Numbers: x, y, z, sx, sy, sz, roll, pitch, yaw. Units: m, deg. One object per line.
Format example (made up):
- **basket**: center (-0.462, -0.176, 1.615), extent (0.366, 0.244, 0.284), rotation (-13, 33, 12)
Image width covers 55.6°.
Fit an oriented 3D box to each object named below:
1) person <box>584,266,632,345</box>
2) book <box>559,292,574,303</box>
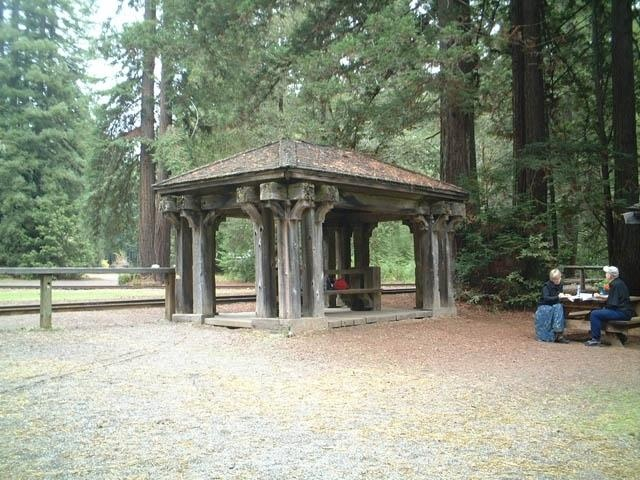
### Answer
- **person**: center (5.799, 1.322, 12.164), extent (0.794, 1.545, 1.009), rotation (1, 4, 28)
- **book**: center (5.188, 1.219, 12.830), extent (0.405, 0.123, 0.436), rotation (5, 6, 30)
